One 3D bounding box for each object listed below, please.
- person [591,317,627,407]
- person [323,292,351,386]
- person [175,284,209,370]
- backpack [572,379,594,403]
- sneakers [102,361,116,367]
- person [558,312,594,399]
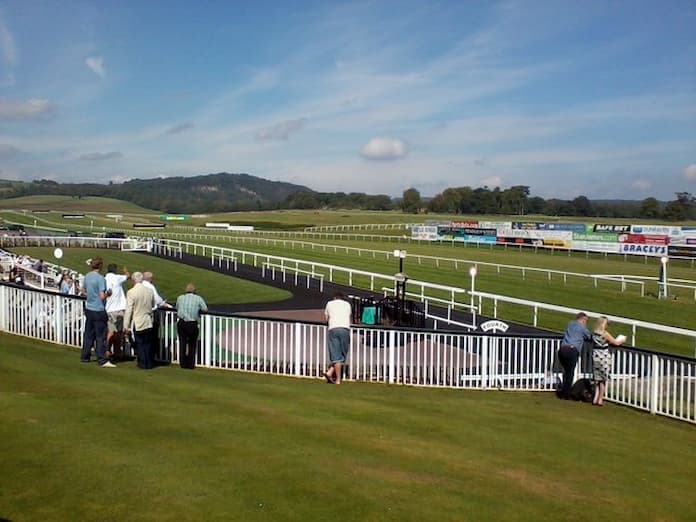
[{"bbox_3d":[4.520,1.788,10.846,0.494,1.179,0.482,7,5,24],"label":"person"},{"bbox_3d":[-0.210,1.440,11.496,0.489,1.677,0.720,5,4,0],"label":"person"},{"bbox_3d":[-2.927,1.231,11.438,0.508,1.582,0.634,5,4,-8],"label":"person"},{"bbox_3d":[4.303,2.374,11.229,0.335,0.437,0.164,-1,-8,16],"label":"backpack"},{"bbox_3d":[-4.241,1.822,10.840,0.192,0.083,0.096,-2,0,28],"label":"sneakers"},{"bbox_3d":[4.091,1.754,11.175,0.478,1.129,0.507,7,5,27],"label":"person"}]
